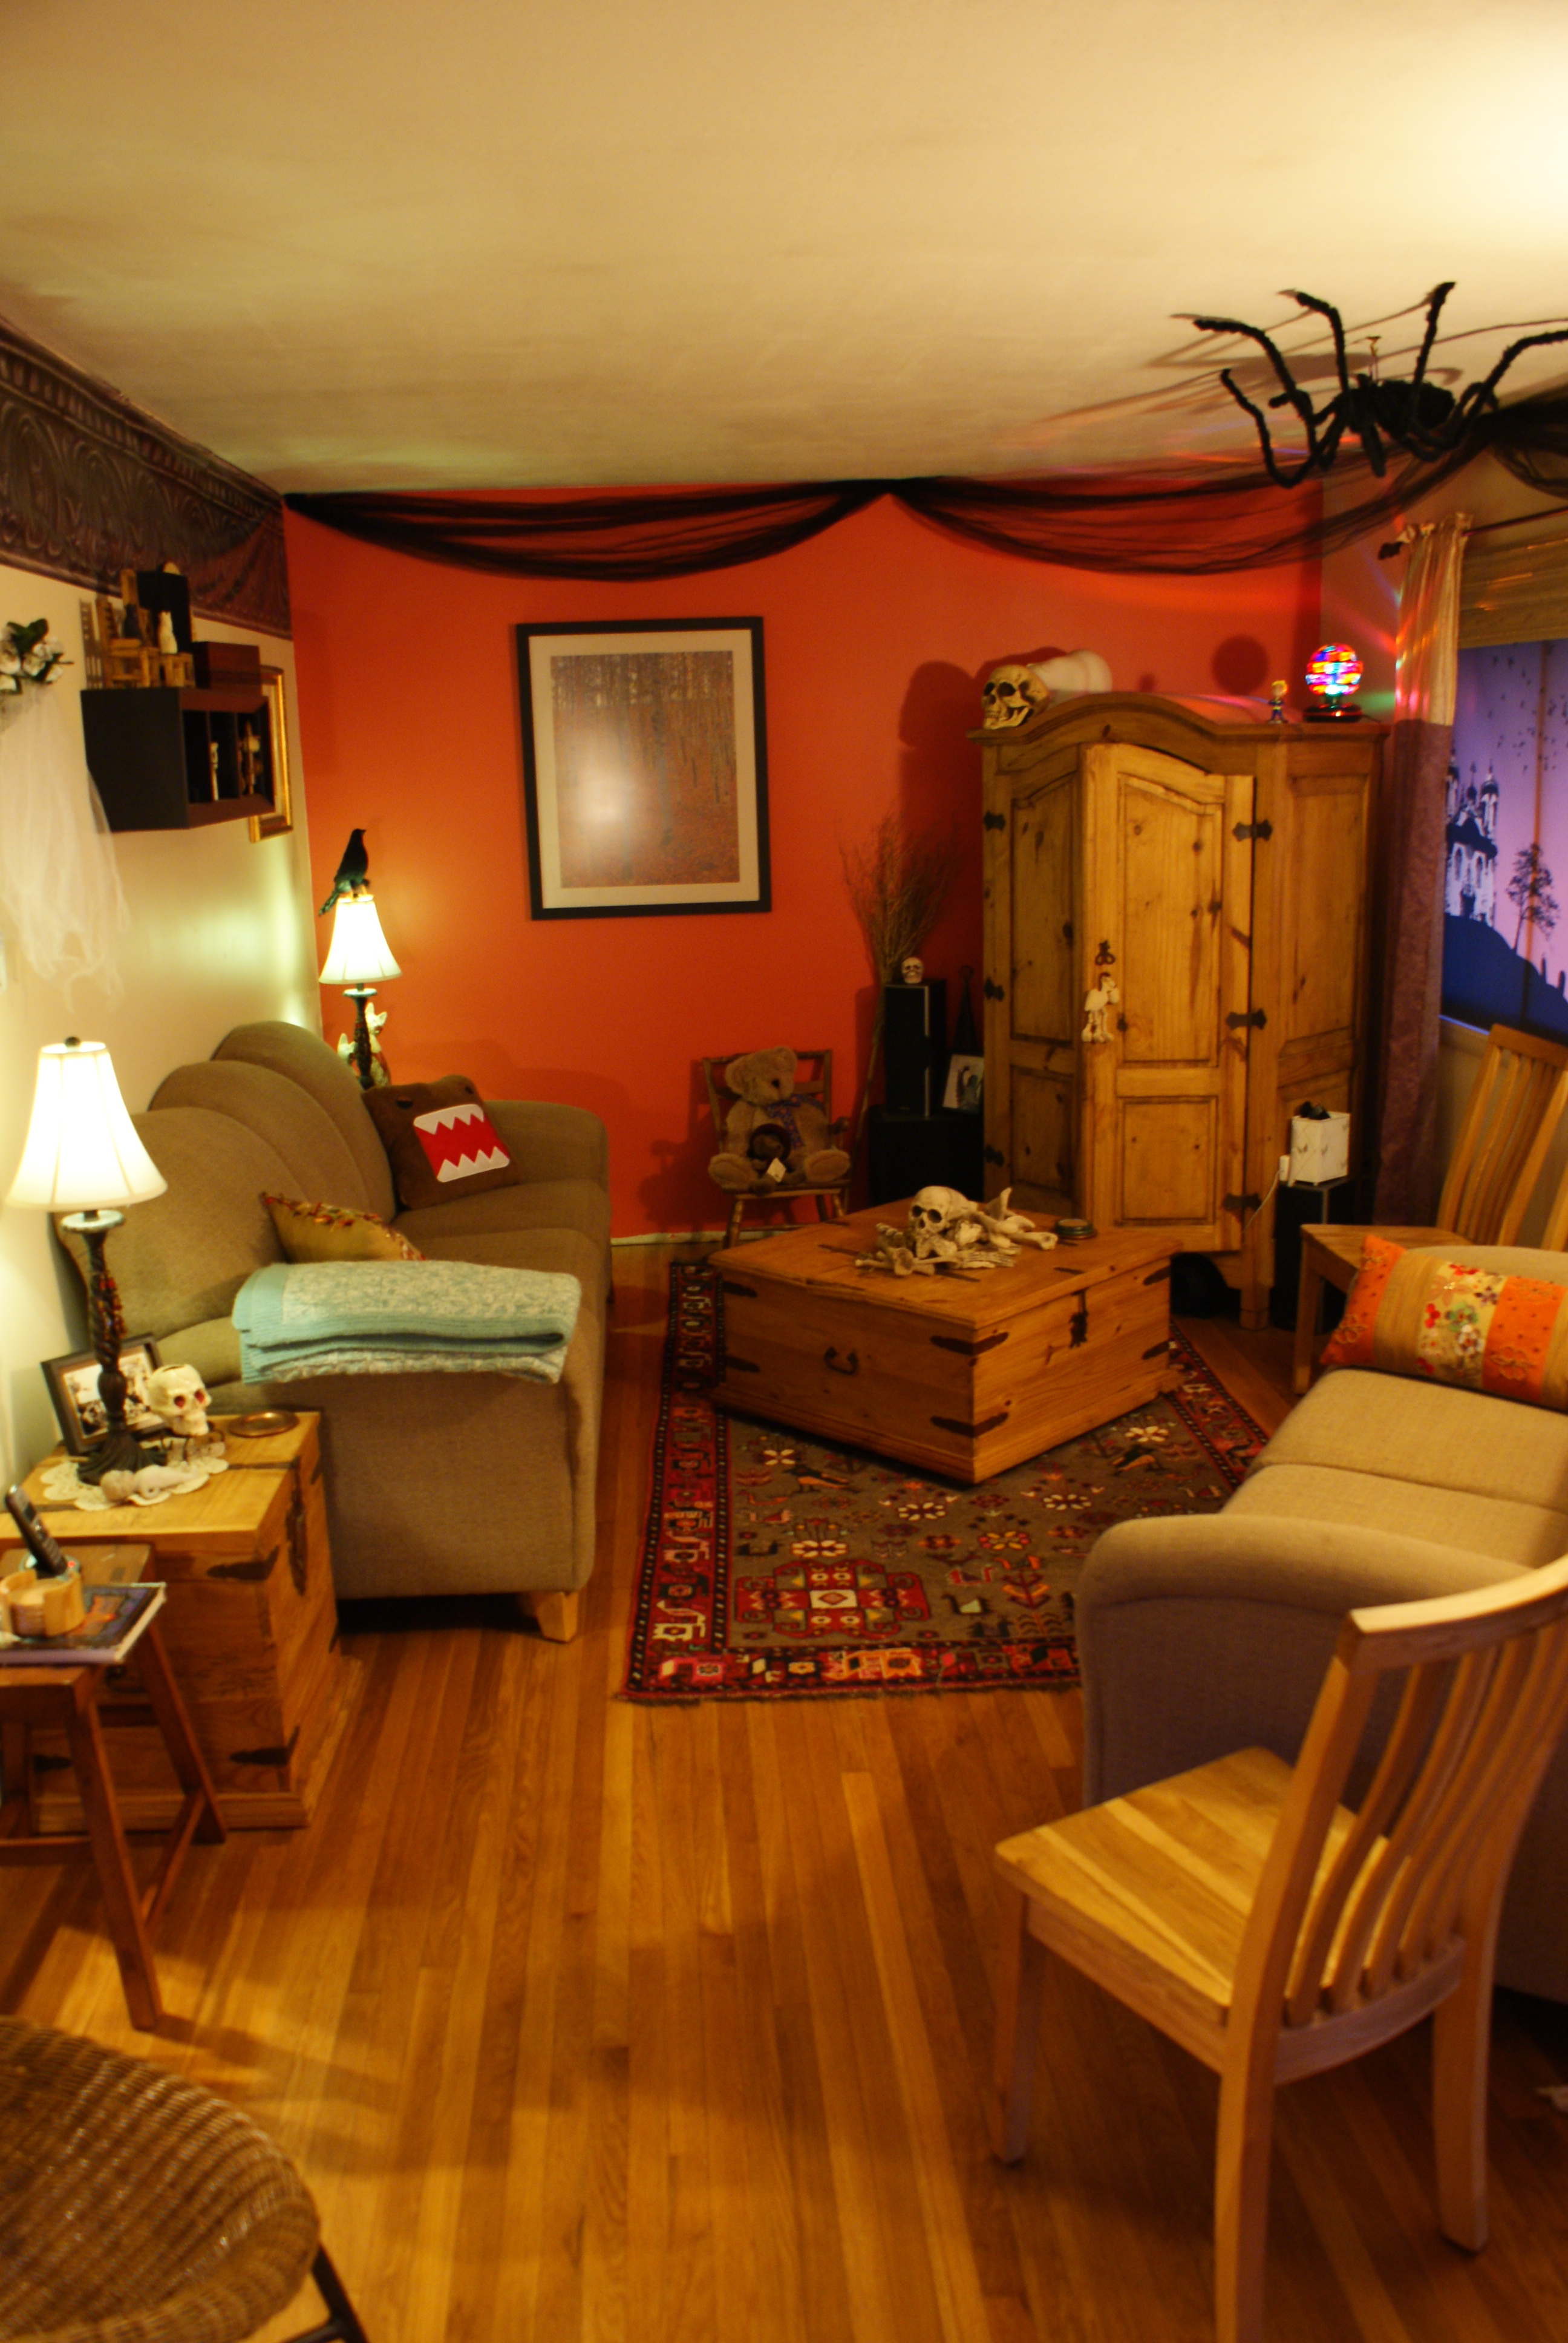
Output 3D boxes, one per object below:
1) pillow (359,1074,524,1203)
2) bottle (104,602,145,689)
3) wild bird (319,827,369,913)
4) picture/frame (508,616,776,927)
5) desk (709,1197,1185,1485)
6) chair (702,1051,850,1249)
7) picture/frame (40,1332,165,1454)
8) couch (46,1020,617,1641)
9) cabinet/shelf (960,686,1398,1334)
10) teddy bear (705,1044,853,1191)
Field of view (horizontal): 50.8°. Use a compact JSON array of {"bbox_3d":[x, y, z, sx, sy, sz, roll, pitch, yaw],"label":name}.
[{"bbox_3d":[-1.060,-0.100,4.986,0.112,0.368,0.394,-31,-7,35],"label":"pillow"},{"bbox_3d":[-1.485,-1.178,3.711,0.095,0.191,0.087,-3,10,1],"label":"bottle"},{"bbox_3d":[-1.469,-1.020,5.538,0.135,0.261,0.412,-6,10,-15],"label":"wild bird"},{"bbox_3d":[-0.544,-1.484,5.954,1.028,1.277,0.050,-2,11,-3],"label":"picture/frame"},{"bbox_3d":[0.315,0.419,4.225,0.744,0.365,0.726,-14,19,-43],"label":"desk"},{"bbox_3d":[-0.008,-0.048,5.756,0.511,0.766,0.556,-2,11,15],"label":"chair"},{"bbox_3d":[-1.171,0.384,2.847,0.022,0.208,0.216,-5,13,40],"label":"picture/frame"},{"bbox_3d":[-0.942,0.258,4.168,0.957,0.972,1.968,-1,17,-6],"label":"couch"},{"bbox_3d":[1.219,-0.579,5.433,1.108,1.868,0.998,9,19,33],"label":"cabinet/shelf"},{"bbox_3d":[-0.079,-0.239,5.801,0.535,0.552,0.441,-5,9,-10],"label":"teddy bear"}]
